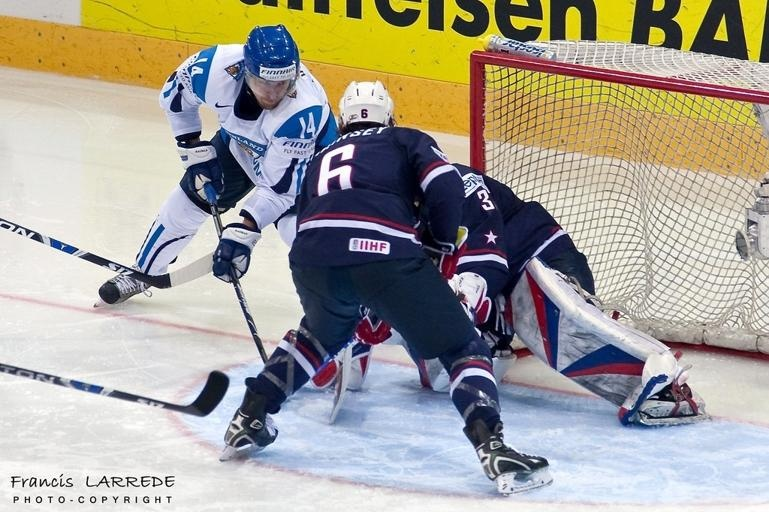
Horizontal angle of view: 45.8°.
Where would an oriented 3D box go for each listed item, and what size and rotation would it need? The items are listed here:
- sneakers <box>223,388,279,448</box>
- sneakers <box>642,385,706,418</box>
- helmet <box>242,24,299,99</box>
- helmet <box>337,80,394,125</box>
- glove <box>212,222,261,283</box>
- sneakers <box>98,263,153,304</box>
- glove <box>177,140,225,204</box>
[{"bbox_3d":[-0.523,0.649,3.565,0.201,0.247,0.111,5,15,-9],"label":"sneakers"},{"bbox_3d":[1.222,0.631,3.855,0.227,0.082,0.158,-5,23,-6],"label":"sneakers"},{"bbox_3d":[-0.580,-0.914,4.284,0.270,0.322,0.304,-7,-27,-14],"label":"helmet"},{"bbox_3d":[-0.084,-0.642,3.880,0.192,0.193,0.219,1,4,7],"label":"helmet"},{"bbox_3d":[-0.713,-0.017,4.258,0.205,0.278,0.115,27,14,-11],"label":"glove"},{"bbox_3d":[-1.324,0.119,4.834,0.169,0.136,0.393,-25,-2,31],"label":"sneakers"},{"bbox_3d":[-0.935,-0.431,4.623,0.213,0.312,0.129,-12,-9,-6],"label":"glove"}]
